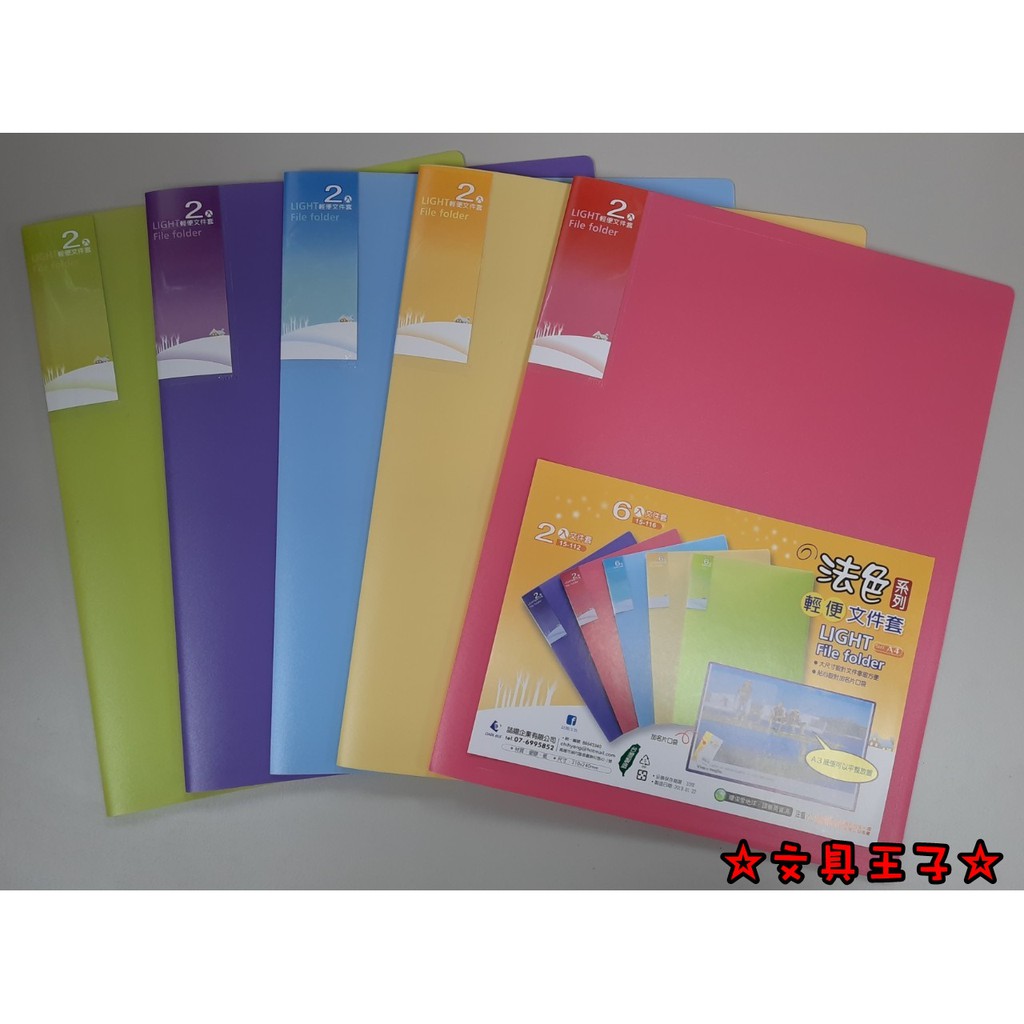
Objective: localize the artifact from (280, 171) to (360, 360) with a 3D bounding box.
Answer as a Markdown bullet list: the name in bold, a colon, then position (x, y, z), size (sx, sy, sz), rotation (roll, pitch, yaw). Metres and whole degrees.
- **artifact**: position (-0.448, -0.561, 2.012), size (0.199, 0.428, 0.042), rotation (-7, 26, -29)
